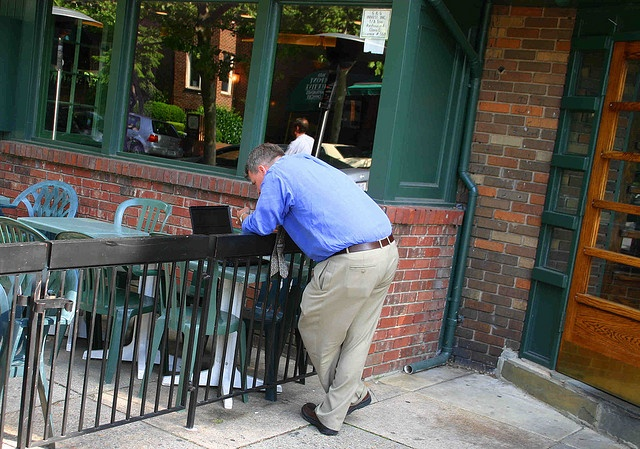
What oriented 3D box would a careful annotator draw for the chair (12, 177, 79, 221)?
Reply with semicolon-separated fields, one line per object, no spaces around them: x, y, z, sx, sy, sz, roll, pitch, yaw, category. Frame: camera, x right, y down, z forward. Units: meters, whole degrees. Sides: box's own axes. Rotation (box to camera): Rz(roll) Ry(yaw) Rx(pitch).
-2.969;-0.252;6.033;0.572;0.424;1.507;3;10;-25;chair

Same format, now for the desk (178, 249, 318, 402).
-0.755;0.807;4.362;1.205;0.913;1.277;-5;-22;40;desk

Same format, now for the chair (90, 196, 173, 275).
-1.737;0.169;5.371;0.581;0.789;0.562;12;6;6;chair

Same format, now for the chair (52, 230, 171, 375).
-1.716;0.650;4.496;0.813;1.043;0.827;11;1;-6;chair

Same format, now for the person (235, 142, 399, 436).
-0.025;0.494;3.954;1.045;1.987;0.385;9;10;9;person

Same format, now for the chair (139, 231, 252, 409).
-0.971;0.766;4.373;0.827;1.243;0.835;-12;-11;-12;chair

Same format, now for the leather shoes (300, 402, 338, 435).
-0.020;1.432;4.077;0.121;0.120;0.302;-8;30;-38;leather shoes

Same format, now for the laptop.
-0.650;0.078;4.084;0.494;0.411;0.478;3;4;25;laptop
